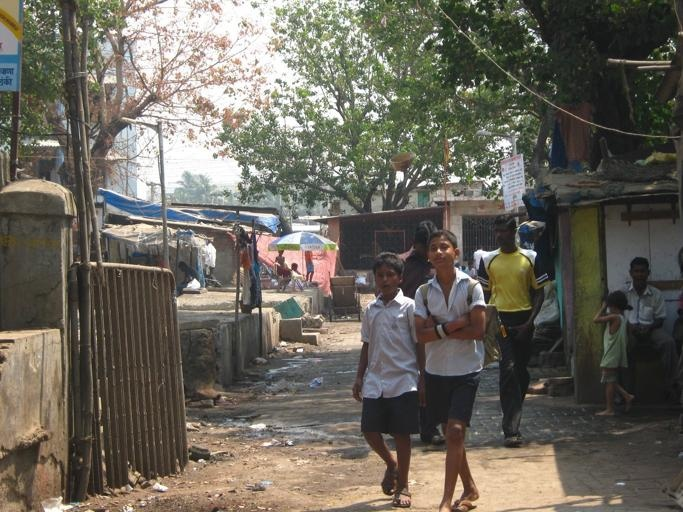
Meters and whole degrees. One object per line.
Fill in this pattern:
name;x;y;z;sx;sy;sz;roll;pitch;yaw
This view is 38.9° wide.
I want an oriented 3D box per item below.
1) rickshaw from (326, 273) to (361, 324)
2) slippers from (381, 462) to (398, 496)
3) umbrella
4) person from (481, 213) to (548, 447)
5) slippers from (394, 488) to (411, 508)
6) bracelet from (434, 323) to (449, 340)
rickshaw;0.052;1.159;26.958;0.677;1.209;0.639;0;5;-14
slippers;0.460;2.109;9.162;0.218;0.267;0.656;0;-13;1
umbrella;-1.225;0.001;30.317;1.376;1.213;1.404;3;5;42
person;1.943;0.802;10.766;0.654;2.480;0.622;-1;-1;-13
slippers;0.559;2.221;8.917;0.125;0.113;0.268;0;-11;5
bracelet;0.922;0.696;8.995;0.117;0.131;0.077;-2;-1;0
